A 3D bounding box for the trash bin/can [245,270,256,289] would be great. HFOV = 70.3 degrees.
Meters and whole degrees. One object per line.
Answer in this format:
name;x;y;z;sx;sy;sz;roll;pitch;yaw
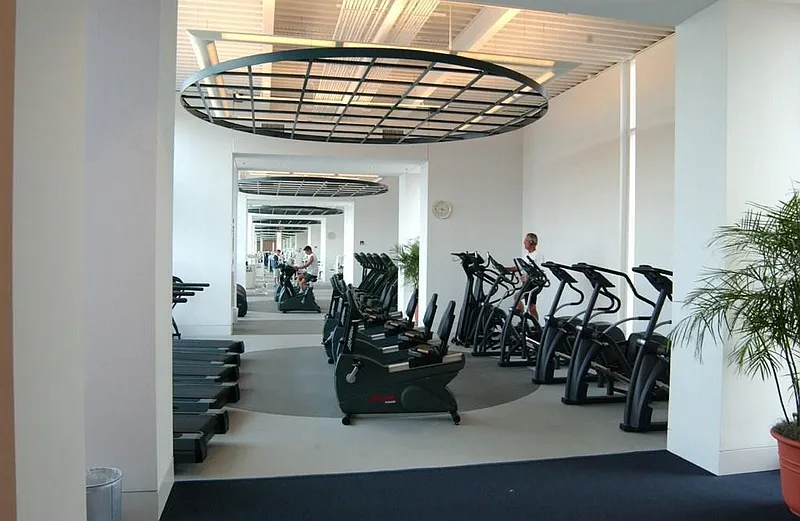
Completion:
trash bin/can;-5.098;0.577;19.194;0.235;0.645;0.331;0;5;-8
